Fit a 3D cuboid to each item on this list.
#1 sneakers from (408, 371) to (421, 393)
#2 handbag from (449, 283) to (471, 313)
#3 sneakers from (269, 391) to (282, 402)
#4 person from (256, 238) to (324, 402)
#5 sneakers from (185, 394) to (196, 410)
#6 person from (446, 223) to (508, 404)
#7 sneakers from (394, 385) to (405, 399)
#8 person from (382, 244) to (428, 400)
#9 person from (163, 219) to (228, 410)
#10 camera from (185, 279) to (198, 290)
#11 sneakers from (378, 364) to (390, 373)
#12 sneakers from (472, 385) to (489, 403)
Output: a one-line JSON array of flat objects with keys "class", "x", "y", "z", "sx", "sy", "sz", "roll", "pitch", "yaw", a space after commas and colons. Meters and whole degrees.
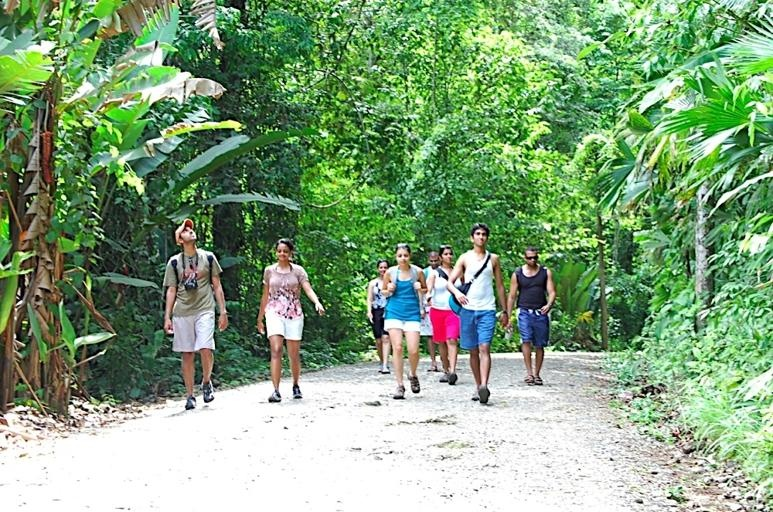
[{"class": "sneakers", "x": 0.416, "y": 1.841, "z": 10.779, "sx": 0.129, "sy": 0.348, "sz": 0.141, "roll": -6, "pitch": -31, "yaw": -13}, {"class": "handbag", "x": 1.047, "y": 0.720, "z": 11.002, "sx": 0.152, "sy": 0.308, "sz": 0.432, "roll": 31, "pitch": -19, "yaw": 5}, {"class": "sneakers", "x": -1.523, "y": 1.950, "z": 10.069, "sx": 0.095, "sy": 0.097, "sz": 0.199, "roll": 7, "pitch": -12, "yaw": -24}, {"class": "person", "x": -1.358, "y": 0.882, "z": 10.106, "sx": 0.783, "sy": 2.250, "sz": 0.661, "roll": -1, "pitch": -4, "yaw": -12}, {"class": "sneakers", "x": -2.687, "y": 2.020, "z": 10.085, "sx": 0.130, "sy": 0.183, "sz": 0.203, "roll": -1, "pitch": -5, "yaw": -14}, {"class": "person", "x": 1.257, "y": 0.803, "z": 10.250, "sx": 0.745, "sy": 2.483, "sz": 0.637, "roll": -3, "pitch": -4, "yaw": 8}, {"class": "sneakers", "x": 0.168, "y": 1.940, "z": 10.431, "sx": 0.163, "sy": 0.204, "sz": 0.226, "roll": -2, "pitch": -4, "yaw": 0}, {"class": "person", "x": 0.260, "y": 0.929, "z": 10.436, "sx": 0.414, "sy": 2.208, "sz": 0.725, "roll": -6, "pitch": -5, "yaw": 42}, {"class": "person", "x": -2.634, "y": 0.801, "z": 10.155, "sx": 0.810, "sy": 2.611, "sz": 0.441, "roll": -1, "pitch": -4, "yaw": -17}, {"class": "camera", "x": -2.656, "y": 0.384, "z": 9.976, "sx": 0.136, "sy": 0.127, "sz": 0.059, "roll": 2, "pitch": 10, "yaw": -2}, {"class": "sneakers", "x": -0.057, "y": 2.120, "z": 13.744, "sx": 0.165, "sy": 0.159, "sz": 0.382, "roll": 1, "pitch": -14, "yaw": -6}, {"class": "sneakers", "x": 1.288, "y": 1.938, "z": 10.063, "sx": 0.140, "sy": 0.149, "sz": 0.355, "roll": 7, "pitch": -40, "yaw": 8}]
